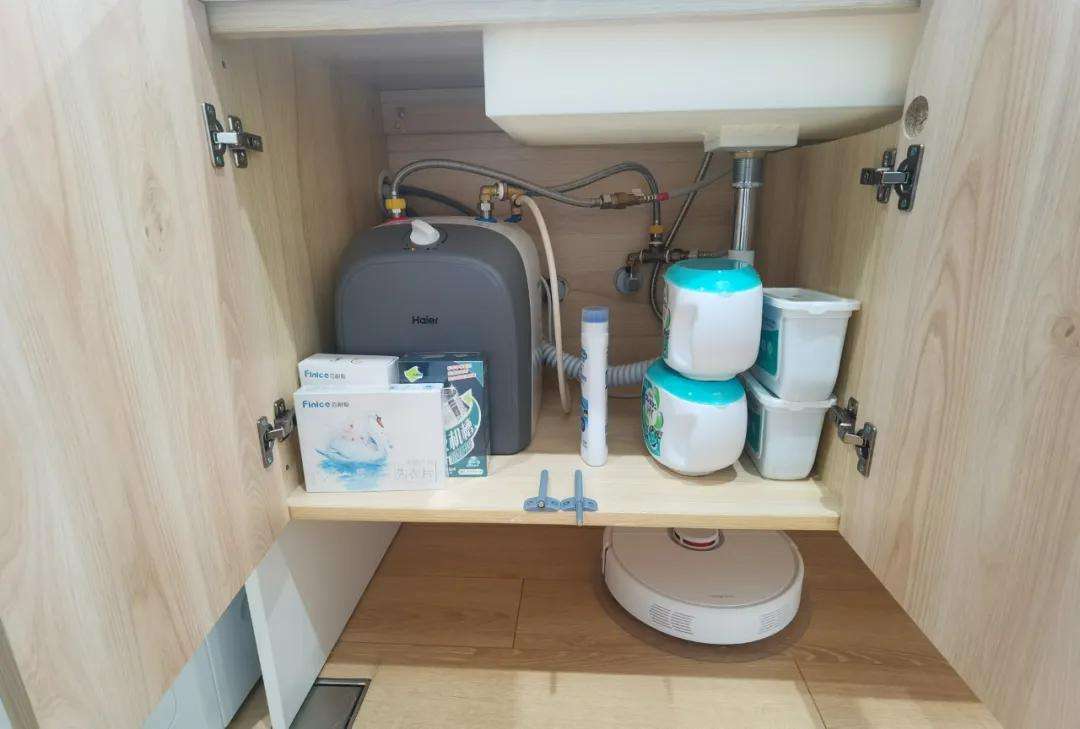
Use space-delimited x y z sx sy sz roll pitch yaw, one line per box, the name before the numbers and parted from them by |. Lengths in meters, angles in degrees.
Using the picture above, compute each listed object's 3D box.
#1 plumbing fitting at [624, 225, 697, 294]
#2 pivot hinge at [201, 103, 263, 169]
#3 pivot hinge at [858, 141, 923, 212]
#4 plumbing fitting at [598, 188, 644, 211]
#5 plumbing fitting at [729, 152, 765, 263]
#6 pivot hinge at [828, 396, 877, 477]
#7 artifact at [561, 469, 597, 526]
plumbing fitting | 0.203 -0.192 1.391 0.106 0.123 0.084 2 20 5
pivot hinge | -0.375 -0.274 0.959 0.009 0.041 0.070 -8 7 13
pivot hinge | 0.412 -0.218 0.912 0.044 0.081 0.098 -4 13 -7
plumbing fitting | 0.133 -0.291 1.385 0.104 0.040 0.033 -8 13 -20
plumbing fitting | 0.305 -0.235 1.198 0.057 0.175 0.044 -1 14 -4
pivot hinge | 0.400 0.087 1.010 0.040 0.078 0.093 -6 32 -7
artifact | 0.059 0.183 1.090 0.041 0.019 0.065 -1 41 3
